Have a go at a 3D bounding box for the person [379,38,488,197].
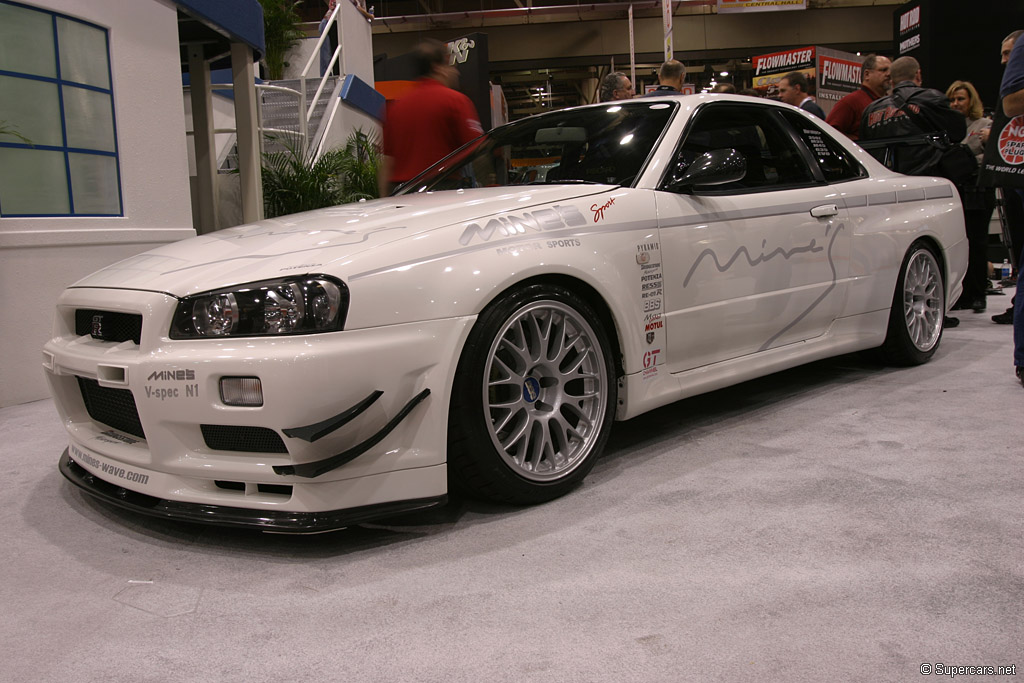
[{"bbox_3d":[-0.633,-1.679,5.309,0.820,1.191,0.548,-4,-6,13],"label":"person"}]
